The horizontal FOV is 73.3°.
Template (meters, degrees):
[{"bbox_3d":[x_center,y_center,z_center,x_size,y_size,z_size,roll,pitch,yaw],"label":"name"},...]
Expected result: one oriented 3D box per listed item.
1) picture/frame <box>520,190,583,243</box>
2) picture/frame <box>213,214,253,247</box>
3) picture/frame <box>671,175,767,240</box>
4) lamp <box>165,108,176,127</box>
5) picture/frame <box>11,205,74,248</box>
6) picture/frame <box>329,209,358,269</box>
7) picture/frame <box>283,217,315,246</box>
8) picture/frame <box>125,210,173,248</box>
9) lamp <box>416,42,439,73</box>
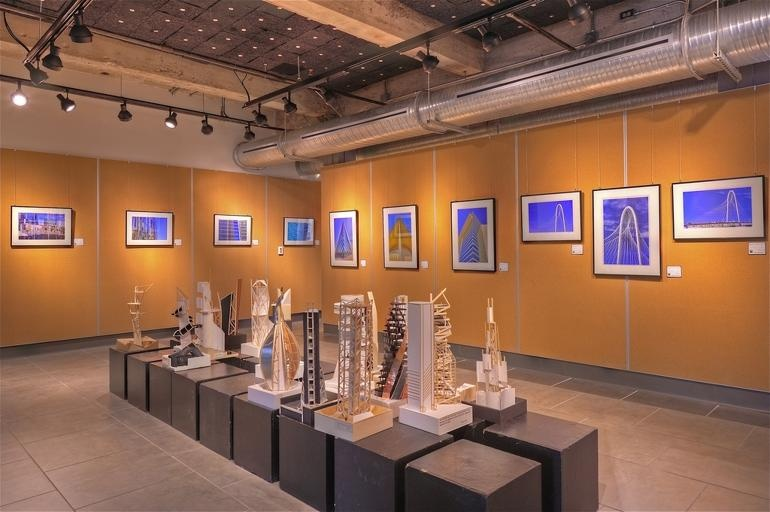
[{"bbox_3d":[2.759,-0.644,8.398,0.895,0.720,0.091,0,-2,39],"label":"picture/frame"},{"bbox_3d":[-3.634,-0.615,12.200,0.803,0.652,0.056,1,-4,-39],"label":"picture/frame"},{"bbox_3d":[4.671,-0.668,7.128,0.932,0.727,0.042,1,2,37],"label":"picture/frame"},{"bbox_3d":[-4.285,-2.773,10.364,0.165,0.351,0.809,-5,12,-18],"label":"lamp"},{"bbox_3d":[-6.531,-0.565,9.756,0.841,0.692,0.029,-1,4,-39],"label":"picture/frame"},{"bbox_3d":[-0.879,-0.393,11.277,0.292,1.257,0.998,-11,15,-40],"label":"picture/frame"},{"bbox_3d":[-2.264,-0.653,13.369,0.764,0.630,0.050,1,-3,-43],"label":"picture/frame"},{"bbox_3d":[-5.079,-0.590,11.026,0.852,0.699,0.054,0,3,-41],"label":"picture/frame"},{"bbox_3d":[0.632,-2.934,7.730,0.274,0.421,0.646,0,12,2],"label":"lamp"}]
